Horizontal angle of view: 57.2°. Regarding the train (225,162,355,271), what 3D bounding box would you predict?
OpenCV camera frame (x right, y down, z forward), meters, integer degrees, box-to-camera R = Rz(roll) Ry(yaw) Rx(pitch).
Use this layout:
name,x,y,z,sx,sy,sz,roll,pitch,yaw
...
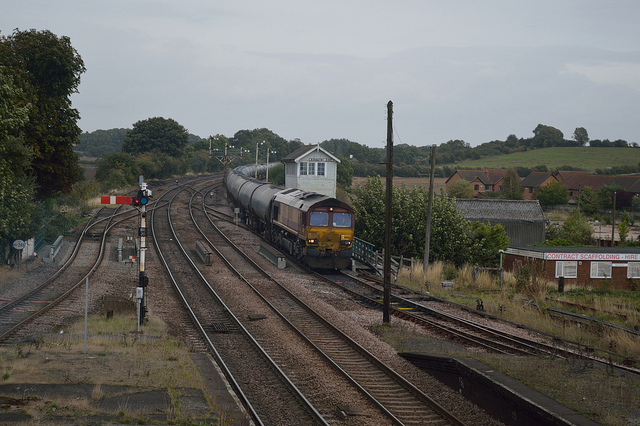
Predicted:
name,x,y,z,sx,sy,sz,roll,pitch,yaw
train,-3.722,-0.803,52.724,4.276,5.065,28.750,0,10,-14

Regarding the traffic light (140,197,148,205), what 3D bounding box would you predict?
name,x,y,z,sx,sy,sz,roll,pitch,yaw
traffic light,-8.352,-0.574,27.842,0.199,0.372,0.403,9,11,39
